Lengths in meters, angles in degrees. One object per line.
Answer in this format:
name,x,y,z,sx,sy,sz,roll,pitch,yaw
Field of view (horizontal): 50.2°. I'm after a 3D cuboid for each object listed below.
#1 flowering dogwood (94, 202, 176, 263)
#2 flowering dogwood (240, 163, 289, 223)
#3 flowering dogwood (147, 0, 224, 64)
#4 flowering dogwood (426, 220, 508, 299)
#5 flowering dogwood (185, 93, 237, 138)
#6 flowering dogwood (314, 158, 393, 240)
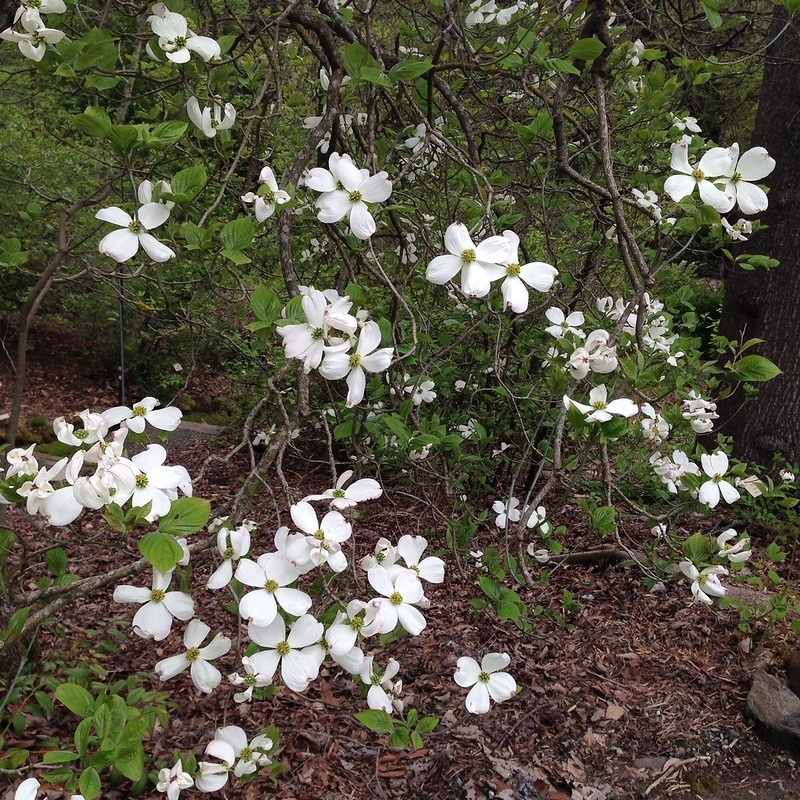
flowering dogwood,-0.583,-0.367,1.869,0.153,0.137,0.237,-2,21,-19
flowering dogwood,-0.325,-0.508,2.099,0.126,0.148,0.074,9,15,-11
flowering dogwood,-0.467,-0.805,1.886,0.140,0.119,0.166,13,21,23
flowering dogwood,0.140,-0.283,1.734,0.159,0.138,0.106,10,21,13
flowering dogwood,-0.436,-0.671,2.007,0.103,0.093,0.083,11,25,-1
flowering dogwood,-0.119,-0.457,1.821,0.148,0.050,0.141,-1,-12,-33
